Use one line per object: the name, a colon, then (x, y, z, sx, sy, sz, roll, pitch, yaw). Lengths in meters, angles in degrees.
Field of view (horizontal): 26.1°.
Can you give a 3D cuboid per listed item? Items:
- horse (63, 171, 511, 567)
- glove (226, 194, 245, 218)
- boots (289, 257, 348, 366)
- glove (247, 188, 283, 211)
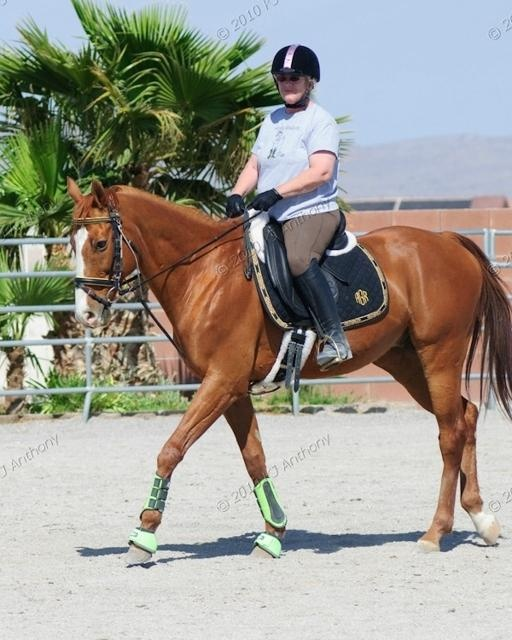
horse: (0.277, 0.263, 6.136, 2.567, 2.012, 0.911, -1, 3, -11)
glove: (-0.109, -0.622, 5.985, 0.104, 0.119, 0.045, 0, 11, 10)
boots: (0.352, -0.040, 5.755, 0.277, 0.525, 0.117, 0, 4, 8)
glove: (0.050, -0.620, 5.643, 0.113, 0.039, 0.144, -12, 5, 27)
